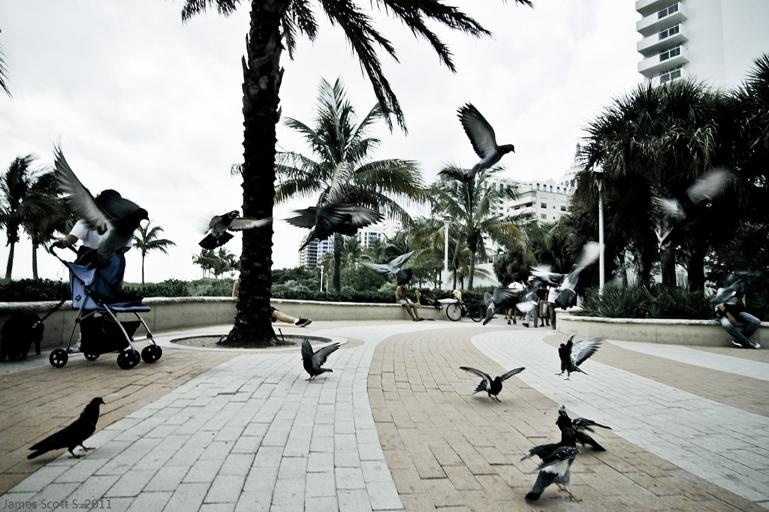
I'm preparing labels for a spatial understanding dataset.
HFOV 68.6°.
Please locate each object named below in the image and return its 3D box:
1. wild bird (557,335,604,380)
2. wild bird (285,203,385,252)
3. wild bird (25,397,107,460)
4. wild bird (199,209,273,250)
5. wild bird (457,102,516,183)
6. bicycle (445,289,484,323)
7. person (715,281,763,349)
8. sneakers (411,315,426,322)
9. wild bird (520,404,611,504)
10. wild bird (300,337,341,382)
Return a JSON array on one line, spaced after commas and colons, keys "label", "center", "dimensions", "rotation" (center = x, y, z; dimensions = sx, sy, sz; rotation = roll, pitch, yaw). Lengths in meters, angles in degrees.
[{"label": "wild bird", "center": [3.948, 2.075, 11.277], "dimensions": [0.599, 0.549, 0.814], "rotation": [18, -33, 8]}, {"label": "wild bird", "center": [-0.953, -0.542, 10.563], "dimensions": [1.625, 0.946, 0.654], "rotation": [2, 10, -3]}, {"label": "wild bird", "center": [-4.449, 2.450, 7.906], "dimensions": [0.900, 0.785, 0.360], "rotation": [-4, 11, -33]}, {"label": "wild bird", "center": [-3.032, -0.548, 11.598], "dimensions": [0.712, 0.453, 1.113], "rotation": [32, 15, 20]}, {"label": "wild bird", "center": [1.974, -2.253, 11.032], "dimensions": [0.889, 1.410, 0.960], "rotation": [2, 10, -2]}, {"label": "bicycle", "center": [3.819, 2.431, 26.741], "dimensions": [2.166, 1.404, 1.135], "rotation": [6, -11, -20]}, {"label": "person", "center": [9.802, 1.673, 15.568], "dimensions": [0.949, 1.938, 1.130], "rotation": [15, -28, -9]}, {"label": "sneakers", "center": [1.434, 2.718, 24.051], "dimensions": [0.177, 0.223, 0.544], "rotation": [11, -31, -44]}, {"label": "wild bird", "center": [2.388, 2.807, 7.845], "dimensions": [1.184, 0.840, 1.166], "rotation": [-17, -11, -29]}, {"label": "wild bird", "center": [-1.234, 1.984, 10.557], "dimensions": [0.591, 0.836, 0.961], "rotation": [1, 10, -7]}]
